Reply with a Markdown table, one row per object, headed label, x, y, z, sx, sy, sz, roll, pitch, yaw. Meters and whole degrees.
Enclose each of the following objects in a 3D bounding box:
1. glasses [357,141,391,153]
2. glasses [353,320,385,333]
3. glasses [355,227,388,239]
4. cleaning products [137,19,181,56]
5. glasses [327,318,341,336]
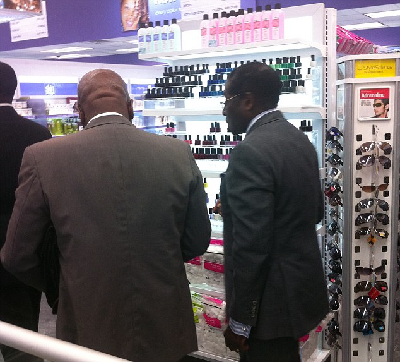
| label | x | y | z | sx | sy | sz | roll | pitch | yaw |
| --- | --- | --- | --- | --- | --- | --- | --- | --- | --- |
| glasses | 1.089 | -0.206 | 2.177 | 0.202 | 0.083 | 0.070 | 3 | 9 | 20 |
| glasses | 1.125 | 0.957 | 2.324 | 0.112 | 0.046 | 0.118 | -1 | -18 | 4 |
| glasses | 1.090 | 0.321 | 2.233 | 0.105 | 0.034 | 0.109 | 3 | -29 | 15 |
| cleaning products | -0.332 | -1.136 | 2.804 | 0.363 | 0.268 | 0.123 | -1 | 0 | 11 |
| glasses | 0.927 | 1.012 | 2.450 | 0.121 | 0.086 | 0.035 | 41 | -20 | -13 |
